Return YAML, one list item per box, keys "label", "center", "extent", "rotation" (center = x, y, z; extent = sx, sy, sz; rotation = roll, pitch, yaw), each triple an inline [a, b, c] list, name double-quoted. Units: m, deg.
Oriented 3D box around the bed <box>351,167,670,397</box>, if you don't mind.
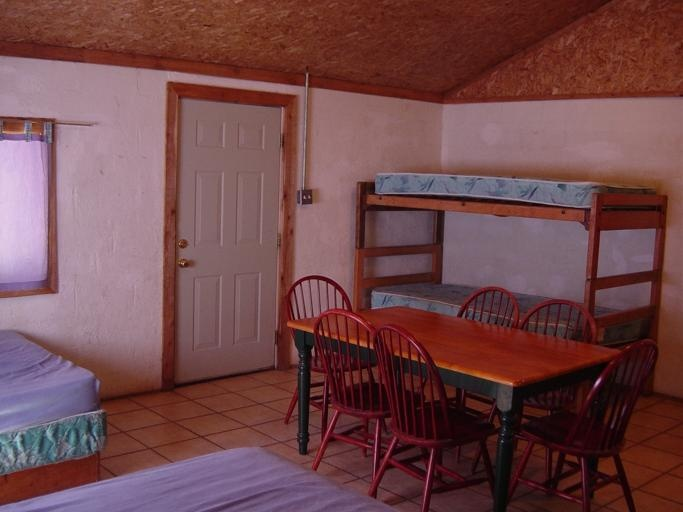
- label: "bed"
  center: [1.456, 0.126, 5.061]
  extent: [1.386, 1.564, 2.337]
  rotation: [-6, 11, -42]
